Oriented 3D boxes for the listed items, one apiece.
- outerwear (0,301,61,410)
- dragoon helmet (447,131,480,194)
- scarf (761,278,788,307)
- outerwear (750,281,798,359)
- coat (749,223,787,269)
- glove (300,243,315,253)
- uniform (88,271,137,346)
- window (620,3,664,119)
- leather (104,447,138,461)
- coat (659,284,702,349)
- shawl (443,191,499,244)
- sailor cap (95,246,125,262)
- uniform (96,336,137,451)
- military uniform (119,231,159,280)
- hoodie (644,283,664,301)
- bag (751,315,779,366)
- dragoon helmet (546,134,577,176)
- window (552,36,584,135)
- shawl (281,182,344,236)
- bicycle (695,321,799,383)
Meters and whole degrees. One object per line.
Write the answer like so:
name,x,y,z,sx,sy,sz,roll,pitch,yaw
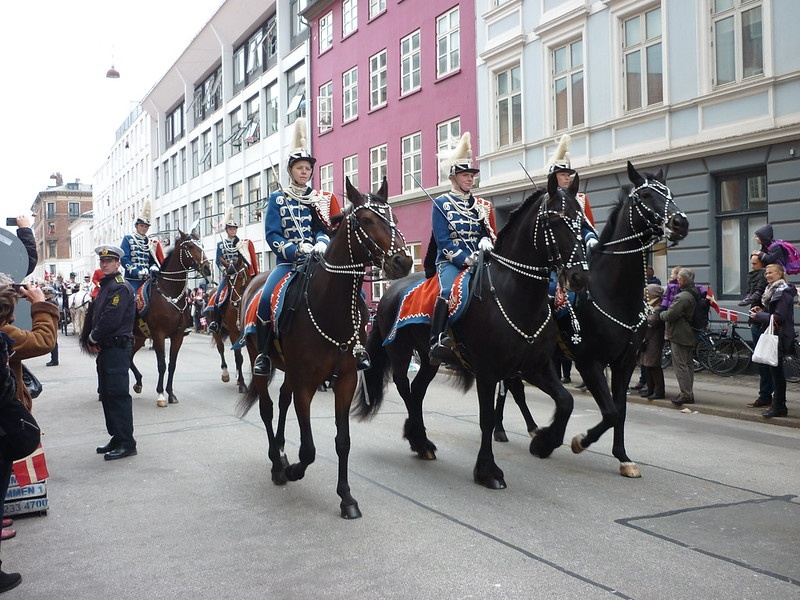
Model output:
outerwear,-3.420,0.463,6.656,0.248,0.966,0.663,-9,4,-42
dragoon helmet,0.757,-1.676,8.872,0.382,0.788,0.468,11,-18,-42
scarf,5.877,-0.119,11.214,0.334,0.381,0.267,5,5,-19
outerwear,6.314,0.359,11.670,0.863,1.491,1.112,1,-5,17
coat,6.341,-0.835,12.138,0.502,0.952,0.484,-10,0,33
glove,-1.056,-0.585,8.034,0.111,0.046,0.155,13,21,-3
uniform,-3.890,0.068,9.540,0.496,0.921,0.817,-3,10,-39
window,5.932,-5.889,17.516,0.207,2.298,1.211,-2,3,-28
leather,-3.518,1.942,8.995,0.381,0.180,0.140,10,-5,-35
coat,5.034,0.315,12.809,0.655,1.130,0.803,2,0,36
shawl,1.029,-1.034,9.151,0.450,0.711,0.481,0,-17,-10
sailor cap,-3.920,-0.639,9.621,0.302,0.187,0.469,-2,3,-25
uniform,-3.609,1.224,9.117,0.386,1.451,0.378,-2,3,-23
military uniform,-5.088,-0.798,13.929,0.711,1.130,0.651,7,-23,-27
hoodie,4.543,-0.129,12.781,0.390,0.441,0.309,-1,0,39
bag,5.731,0.646,11.162,0.346,0.798,0.380,2,4,43
dragoon helmet,2.202,-1.937,9.582,0.150,0.601,0.251,-11,27,-11
window,4.581,-5.860,19.542,0.270,2.368,1.240,-2,3,-24
shawl,-0.981,-1.171,8.530,0.465,0.756,0.299,1,9,-2
bicycle,7.055,1.075,14.523,1.774,1.177,0.915,14,0,31
